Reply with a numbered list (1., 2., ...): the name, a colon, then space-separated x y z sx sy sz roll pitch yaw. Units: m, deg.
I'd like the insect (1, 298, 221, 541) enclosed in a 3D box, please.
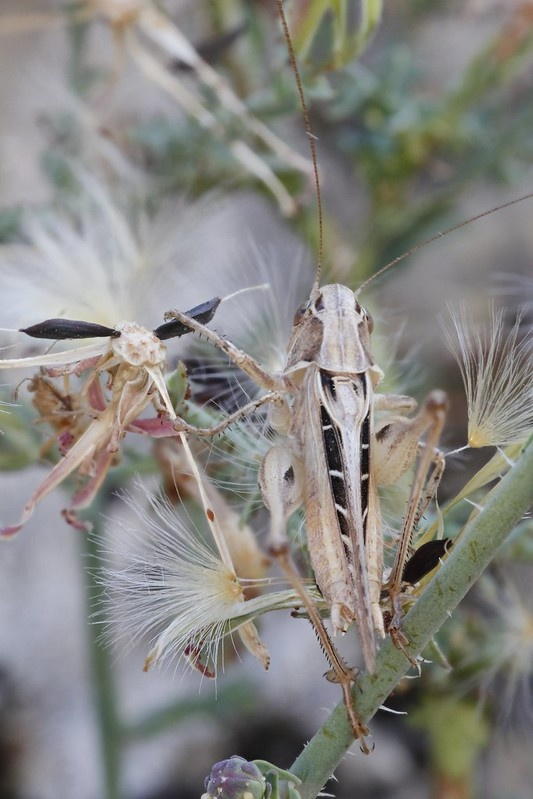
1. insect: -0.182 0.008 1.061 0.259 0.231 0.297 -1 7 -43
